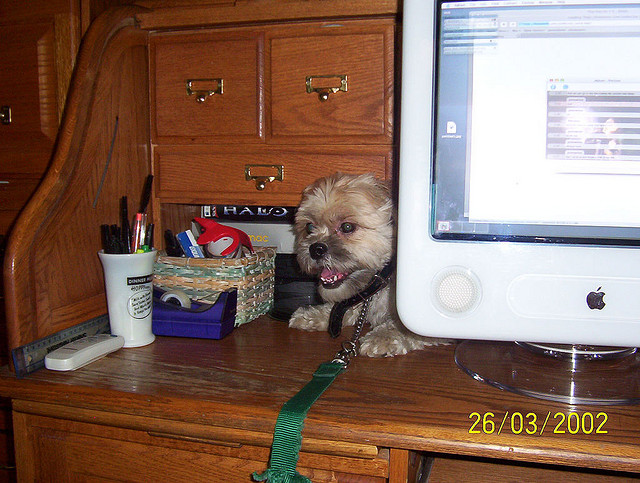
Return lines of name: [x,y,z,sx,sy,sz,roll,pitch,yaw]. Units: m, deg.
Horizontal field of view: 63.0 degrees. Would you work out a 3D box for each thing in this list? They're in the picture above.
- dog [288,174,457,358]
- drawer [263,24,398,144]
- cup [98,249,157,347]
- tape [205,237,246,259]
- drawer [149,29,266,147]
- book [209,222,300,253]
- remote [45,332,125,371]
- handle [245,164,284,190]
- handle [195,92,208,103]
dog: [0.171,0.039,1.397,0.508,0.380,0.396,-3,4,-42]
drawer: [0.019,-0.363,1.215,0.322,0.268,0.075,1,14,5]
cup: [-0.393,0.119,1.083,0.108,0.197,0.065,-4,15,-16]
tape: [-0.219,0.017,1.243,0.075,0.062,0.052,6,-33,16]
drawer: [-0.257,-0.366,1.312,0.300,0.269,0.208,5,18,19]
book: [-0.142,-0.014,1.388,0.145,0.108,0.031,2,3,4]
remote: [-0.452,0.211,1.015,0.057,0.031,0.150,6,14,27]
handle: [-0.133,-0.159,1.263,0.080,0.045,0.007,1,0,6]
handle: [-0.293,-0.351,1.273,0.035,0.023,0.009,3,14,12]
